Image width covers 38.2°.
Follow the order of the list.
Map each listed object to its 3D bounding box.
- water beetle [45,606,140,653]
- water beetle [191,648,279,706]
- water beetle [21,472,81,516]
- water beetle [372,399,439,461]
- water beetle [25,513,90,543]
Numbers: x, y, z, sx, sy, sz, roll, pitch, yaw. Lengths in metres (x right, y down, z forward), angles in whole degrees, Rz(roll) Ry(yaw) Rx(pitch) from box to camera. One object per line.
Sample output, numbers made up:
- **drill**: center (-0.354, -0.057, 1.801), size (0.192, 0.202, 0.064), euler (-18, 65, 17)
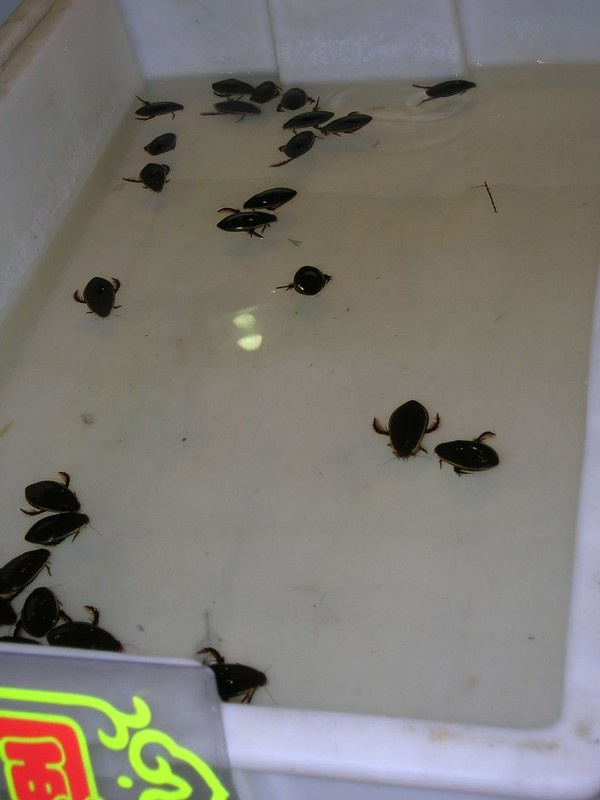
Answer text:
- **water beetle**: center (-0.289, 0.308, 1.163), size (0.097, 0.065, 0.061), euler (-10, -18, 16)
- **water beetle**: center (-0.084, 0.352, 1.112), size (0.082, 0.071, 0.077), euler (0, -18, -14)
- **water beetle**: center (-0.371, 0.138, 1.297), size (0.083, 0.070, 0.044), euler (0, -19, -15)
- **water beetle**: center (0.148, 0.043, 1.270), size (0.089, 0.082, 0.023), euler (5, -27, 16)
- **water beetle**: center (-0.354, 0.185, 1.252), size (0.073, 0.043, 0.019), euler (-15, -40, -23)
